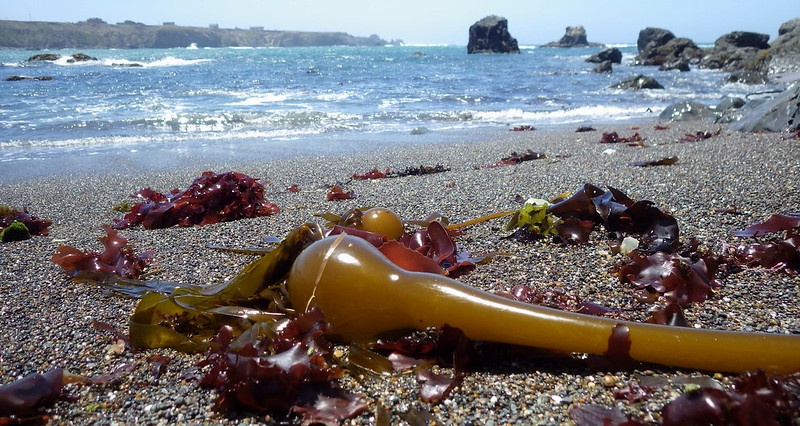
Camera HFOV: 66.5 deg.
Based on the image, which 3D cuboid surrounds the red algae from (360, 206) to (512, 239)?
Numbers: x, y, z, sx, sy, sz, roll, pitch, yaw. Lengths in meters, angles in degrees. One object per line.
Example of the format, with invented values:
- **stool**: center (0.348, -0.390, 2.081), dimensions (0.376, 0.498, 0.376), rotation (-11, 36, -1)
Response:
- **red algae**: center (0.195, 0.103, 6.346), dimensions (1.572, 0.395, 0.856), rotation (1, -1, -8)

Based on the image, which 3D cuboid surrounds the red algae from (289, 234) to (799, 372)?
- **red algae**: center (1.056, 0.811, 5.442), dimensions (4.122, 1.203, 0.475), rotation (-1, 29, 8)
